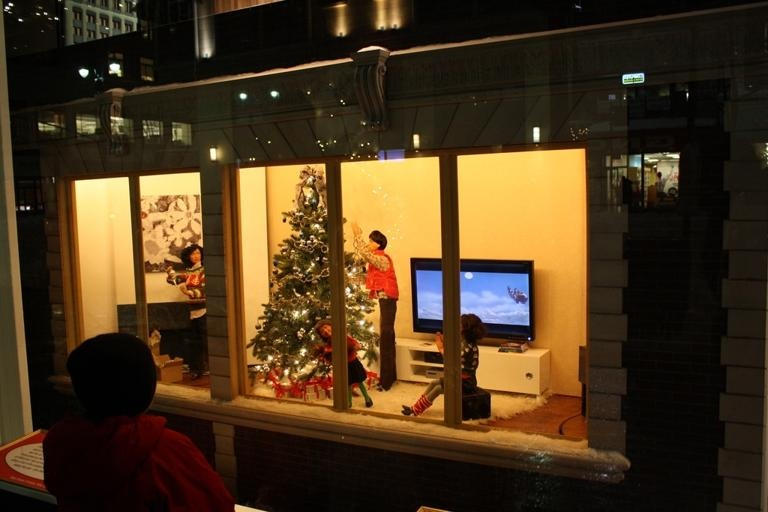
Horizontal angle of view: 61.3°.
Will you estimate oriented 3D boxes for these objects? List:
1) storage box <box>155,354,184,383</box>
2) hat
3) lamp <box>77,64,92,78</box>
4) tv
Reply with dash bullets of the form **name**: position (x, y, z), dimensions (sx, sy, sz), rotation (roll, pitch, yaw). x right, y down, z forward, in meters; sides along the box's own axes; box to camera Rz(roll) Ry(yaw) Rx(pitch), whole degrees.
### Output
- **storage box**: position (-1.512, 0.788, 4.641), dimensions (0.194, 0.141, 0.206), rotation (0, 0, 23)
- **hat**: position (-1.144, 0.527, 2.842), dimensions (0.257, 0.316, 0.336), rotation (-5, -12, -22)
- **lamp**: position (-2.150, -1.332, 4.662), dimensions (0.076, 0.084, 0.091), rotation (-1, 3, -11)
- **tv**: position (0.525, 0.253, 3.911), dimensions (0.750, 0.477, 0.076), rotation (1, 3, 21)
